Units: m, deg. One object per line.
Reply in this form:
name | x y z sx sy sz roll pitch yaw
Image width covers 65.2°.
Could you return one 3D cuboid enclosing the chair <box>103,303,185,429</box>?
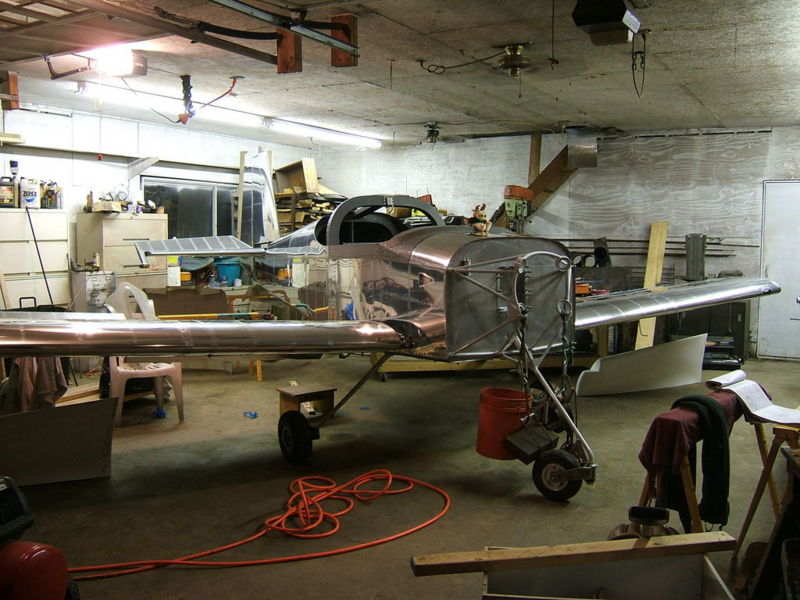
chair | -2.573 0.672 6.214 0.844 0.778 0.638 7 -2 -23
